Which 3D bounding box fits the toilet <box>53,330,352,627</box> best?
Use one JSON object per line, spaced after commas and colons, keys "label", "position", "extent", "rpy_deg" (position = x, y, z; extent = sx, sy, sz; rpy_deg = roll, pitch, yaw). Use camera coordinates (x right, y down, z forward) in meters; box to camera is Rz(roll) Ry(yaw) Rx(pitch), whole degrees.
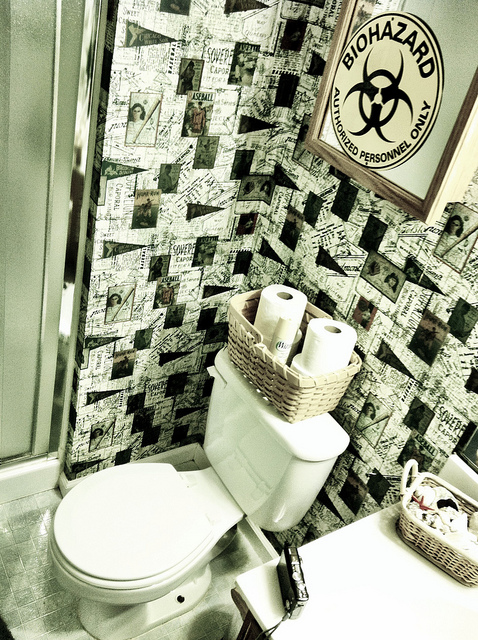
{"label": "toilet", "position": [-0.185, 0.502, 1.398], "extent": [0.656, 0.754, 0.474], "rpy_deg": [-5, 34, -33]}

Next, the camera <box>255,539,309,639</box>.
{"label": "camera", "position": [0.076, 0.447, 0.864], "extent": [0.078, 0.031, 0.125], "rpy_deg": [46, 38, -44]}

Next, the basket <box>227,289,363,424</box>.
{"label": "basket", "position": [0.118, 0.076, 1.296], "extent": [0.242, 0.171, 0.360], "rpy_deg": [-12, 39, -30]}

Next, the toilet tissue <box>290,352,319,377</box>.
{"label": "toilet tissue", "position": [0.148, 0.105, 1.193], "extent": [0.044, 0.029, 0.045], "rpy_deg": [-21, 52, -26]}
